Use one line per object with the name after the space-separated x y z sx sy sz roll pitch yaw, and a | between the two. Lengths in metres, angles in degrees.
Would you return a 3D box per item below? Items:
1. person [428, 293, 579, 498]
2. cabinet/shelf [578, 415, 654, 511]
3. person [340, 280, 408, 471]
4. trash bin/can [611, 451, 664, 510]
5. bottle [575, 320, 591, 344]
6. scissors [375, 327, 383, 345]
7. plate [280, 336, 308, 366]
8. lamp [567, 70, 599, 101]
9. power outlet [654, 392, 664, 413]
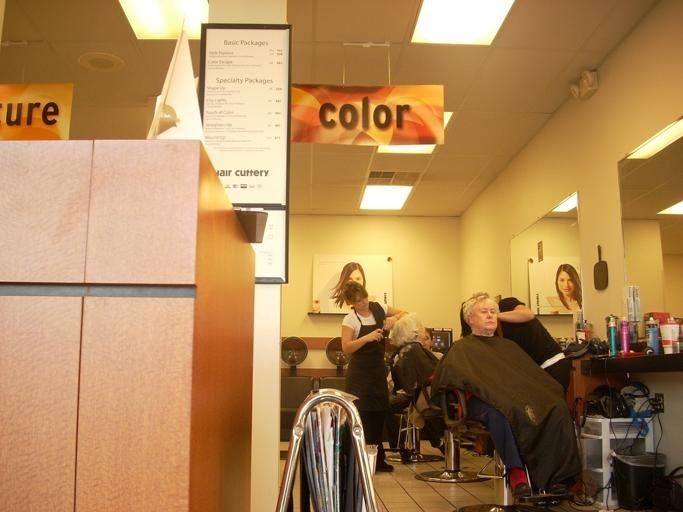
1.002 0.799 3.706 0.733 1.262 0.699 8 -19 -18 | person
1.824 1.356 4.091 0.510 0.746 0.504 1 -11 2 | cabinet/shelf
0.286 0.969 4.961 0.475 1.504 0.448 -12 13 -32 | person
1.877 1.406 3.905 0.332 0.352 0.301 3 -11 4 | trash bin/can
1.971 0.624 5.003 0.150 0.183 0.156 2 -14 1 | bottle
0.296 0.637 4.900 0.028 0.090 0.064 2 -7 -39 | scissors
-0.655 1.309 8.362 0.379 0.398 0.227 -4 -10 13 | plate
1.975 -1.397 4.989 0.064 0.183 0.180 8 9 -16 | lamp
2.173 1.019 4.209 0.034 0.119 0.081 13 -14 -38 | power outlet
